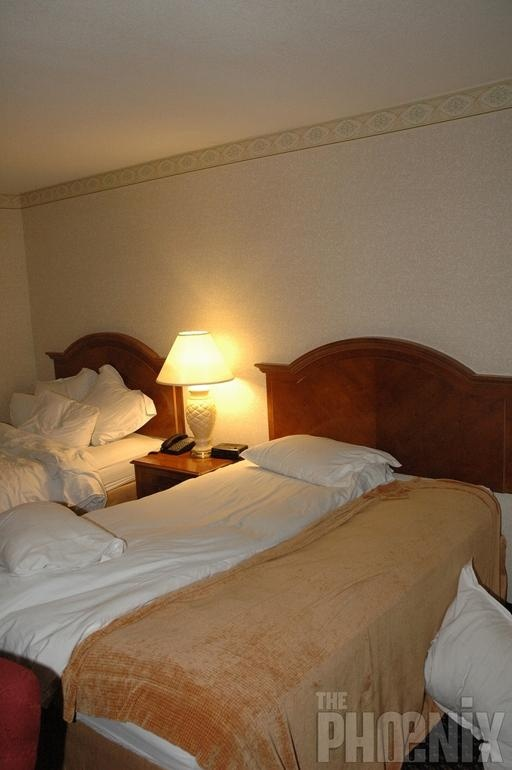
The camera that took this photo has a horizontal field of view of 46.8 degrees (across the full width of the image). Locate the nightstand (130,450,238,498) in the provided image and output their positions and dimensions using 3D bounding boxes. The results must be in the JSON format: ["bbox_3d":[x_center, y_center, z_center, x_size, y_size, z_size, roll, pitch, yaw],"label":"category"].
[{"bbox_3d":[-0.453,0.428,3.340,0.318,0.339,0.366,6,12,34],"label":"nightstand"}]

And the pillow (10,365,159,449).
[{"bbox_3d":[-1.180,0.127,3.917,0.723,0.210,0.663,15,26,41],"label":"pillow"}]

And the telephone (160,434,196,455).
[{"bbox_3d":[-0.458,0.349,3.575,0.118,0.056,0.158,1,5,20],"label":"telephone"}]

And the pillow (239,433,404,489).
[{"bbox_3d":[0.288,0.356,2.902,0.372,0.152,0.693,-9,12,-43],"label":"pillow"}]

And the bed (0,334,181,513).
[{"bbox_3d":[-0.942,0.224,3.563,1.023,0.696,0.557,7,12,33],"label":"bed"}]
